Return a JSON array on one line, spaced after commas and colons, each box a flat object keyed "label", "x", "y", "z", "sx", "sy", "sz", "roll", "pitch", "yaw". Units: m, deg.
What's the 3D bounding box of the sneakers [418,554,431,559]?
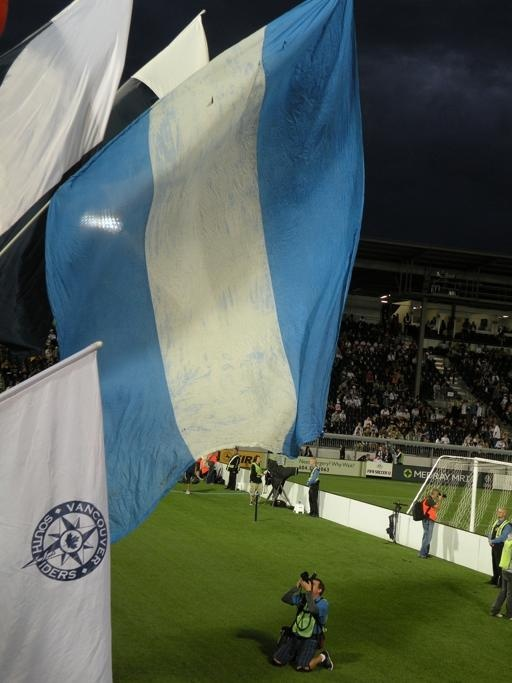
[{"label": "sneakers", "x": 4.967, "y": 6.205, "z": 15.166, "sx": 0.483, "sy": 0.090, "sz": 0.247, "roll": 10, "pitch": -10, "yaw": -26}]

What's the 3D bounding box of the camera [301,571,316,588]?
[{"label": "camera", "x": 0.752, "y": 3.328, "z": 7.373, "sx": 0.217, "sy": 0.111, "sz": 0.223, "roll": 0, "pitch": -10, "yaw": 33}]

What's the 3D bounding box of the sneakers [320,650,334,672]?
[{"label": "sneakers", "x": 1.013, "y": 4.579, "z": 7.422, "sx": 0.115, "sy": 0.115, "sz": 0.315, "roll": 25, "pitch": 33, "yaw": -25}]

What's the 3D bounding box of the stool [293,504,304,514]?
[{"label": "stool", "x": 1.739, "y": 6.661, "z": 20.939, "sx": 0.285, "sy": 0.316, "sz": 0.303, "roll": 2, "pitch": -11, "yaw": -16}]

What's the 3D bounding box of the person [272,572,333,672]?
[{"label": "person", "x": 0.725, "y": 3.970, "z": 7.572, "sx": 0.841, "sy": 1.320, "sz": 0.808, "roll": 3, "pitch": -8, "yaw": 9}]
